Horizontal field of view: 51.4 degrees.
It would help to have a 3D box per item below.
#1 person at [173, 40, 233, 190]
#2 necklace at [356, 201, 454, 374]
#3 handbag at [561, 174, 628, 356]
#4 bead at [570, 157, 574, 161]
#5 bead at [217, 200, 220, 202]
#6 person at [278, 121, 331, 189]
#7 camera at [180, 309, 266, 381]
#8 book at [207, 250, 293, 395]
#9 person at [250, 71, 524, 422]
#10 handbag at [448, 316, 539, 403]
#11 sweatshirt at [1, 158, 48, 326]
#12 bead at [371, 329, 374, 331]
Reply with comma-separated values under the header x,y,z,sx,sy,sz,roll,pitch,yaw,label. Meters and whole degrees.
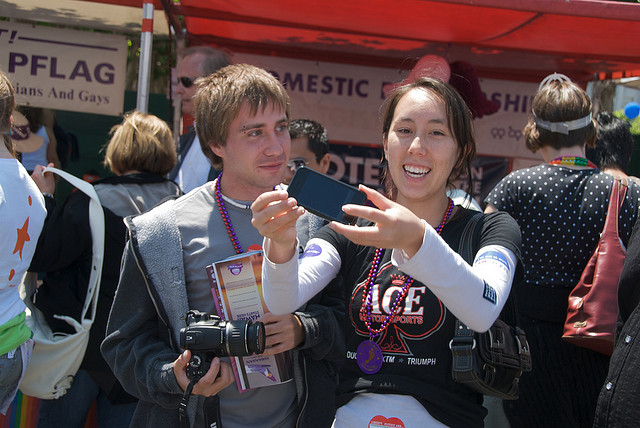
x,y,z,sx,sy,sz,roll,pitch,yaw,label
-1.175,-0.933,7.081,0.670,0.530,1.680,9,-22,-2,person
0.503,0.482,3.937,0.303,1.059,0.072,18,1,14,necklace
2.208,0.430,5.325,0.409,1.400,0.606,4,11,25,handbag
2.120,-0.468,5.603,0.030,0.030,0.015,3,10,16,bead
-0.668,-0.089,4.380,0.013,0.014,0.010,-4,-9,28,bead
-0.141,-0.612,6.380,0.546,0.854,0.628,-1,-8,2,person
-0.578,0.789,3.961,0.381,0.256,0.389,-3,-17,12,camera
-0.458,0.663,4.149,0.537,0.839,0.181,-9,-2,-14,book
0.477,0.214,4.112,1.465,2.097,0.793,1,10,8,person
1.055,0.773,4.115,0.347,0.668,0.632,-19,-29,40,handbag
-2.271,0.174,5.004,0.190,1.186,0.503,4,10,23,sweatshirt
0.320,0.706,4.045,0.010,0.006,0.010,-5,5,-22,bead
